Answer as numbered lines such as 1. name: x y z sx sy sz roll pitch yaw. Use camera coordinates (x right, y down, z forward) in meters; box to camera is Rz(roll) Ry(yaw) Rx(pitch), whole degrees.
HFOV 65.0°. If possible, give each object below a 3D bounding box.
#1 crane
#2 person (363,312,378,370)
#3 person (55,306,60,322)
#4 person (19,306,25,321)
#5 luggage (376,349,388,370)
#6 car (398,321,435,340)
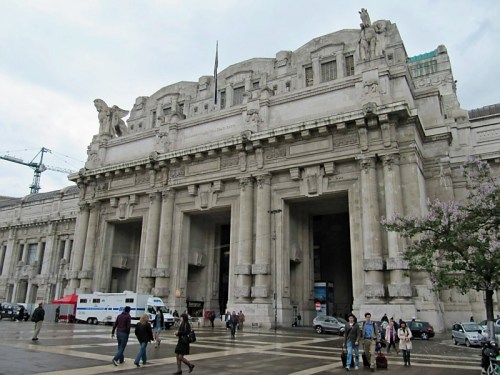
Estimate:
1. crane: -34.440 -2.081 66.379 10.216 6.154 10.001 2 -23 -3
2. person: 5.034 6.340 16.395 0.606 2.201 0.717 -5 -20 15
3. person: -20.755 13.515 42.463 0.439 1.556 1.571 11 -22 -29
4. person: -24.900 13.613 42.855 0.561 1.422 0.685 14 -24 -34
5. luggage: 5.401 7.072 16.132 0.435 0.607 0.357 -3 -20 9
6. car: 11.968 9.884 27.639 2.830 1.264 1.703 -1 -22 13
